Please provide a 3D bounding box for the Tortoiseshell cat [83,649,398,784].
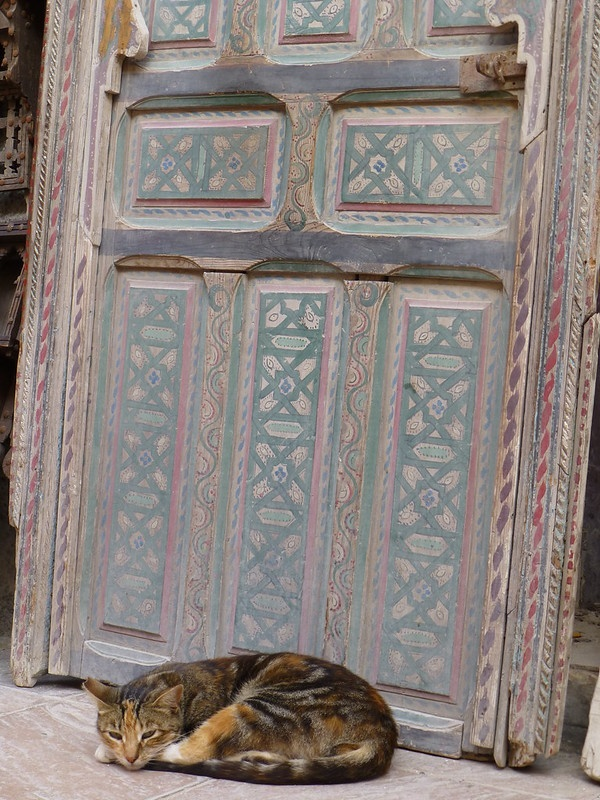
[{"bbox_3d":[-0.171,1.030,5.094,0.673,0.230,0.489,6,-20,-9],"label":"Tortoiseshell cat"}]
